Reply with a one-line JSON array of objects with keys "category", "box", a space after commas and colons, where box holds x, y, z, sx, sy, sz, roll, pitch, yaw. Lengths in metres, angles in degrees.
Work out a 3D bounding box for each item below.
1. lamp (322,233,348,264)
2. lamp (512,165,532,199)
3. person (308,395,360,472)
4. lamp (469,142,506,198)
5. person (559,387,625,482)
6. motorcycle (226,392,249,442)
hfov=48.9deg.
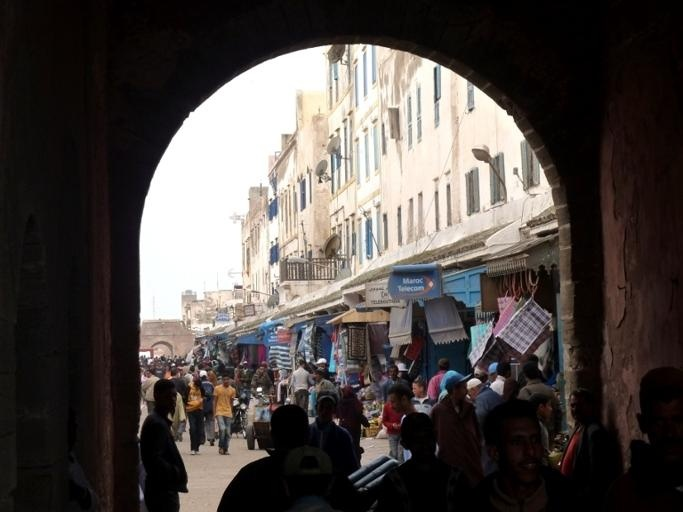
[{"category": "lamp", "box": [-0.299, -0.427, 34.338, 0.438, 1.362, 0.931, -9, -5, -36]}, {"category": "lamp", "box": [3.578, -1.477, 14.960, 0.199, 0.562, 0.346, -28, 16, 0]}, {"category": "person", "box": [-0.081, 1.638, 6.883, 0.498, 0.854, 0.524, -4, 2, -9]}, {"category": "lamp", "box": [3.111, -1.942, 15.700, 0.585, 1.398, 2.507, -4, -8, 13]}, {"category": "person", "box": [1.905, 1.437, 5.834, 0.543, 0.895, 0.502, -3, 4, 3]}, {"category": "motorcycle", "box": [-2.673, 4.079, 19.449, 0.580, 0.824, 1.164, 3, -5, -5]}]
